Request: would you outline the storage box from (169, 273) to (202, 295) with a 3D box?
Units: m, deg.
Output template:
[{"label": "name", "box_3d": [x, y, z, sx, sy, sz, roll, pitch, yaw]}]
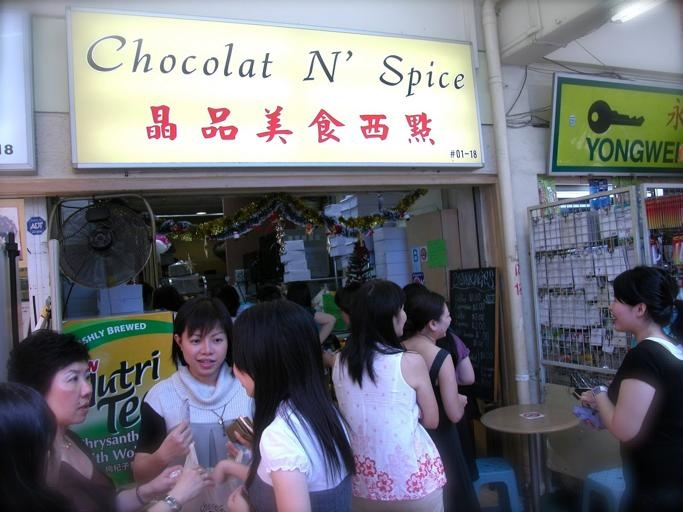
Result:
[{"label": "storage box", "box_3d": [-1.628, 0.295, 5.165, 0.276, 0.208, 0.182, 0, -1, -13]}]

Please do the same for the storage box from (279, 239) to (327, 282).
[{"label": "storage box", "box_3d": [-0.525, 0.063, 6.232, 0.493, 0.459, 0.172, 0, -5, -41]}]

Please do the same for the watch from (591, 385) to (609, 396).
[{"label": "watch", "box_3d": [1.205, 0.619, 2.268, 0.046, 0.020, 0.047, 1, -5, -6]}]

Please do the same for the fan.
[{"label": "fan", "box_3d": [-1.592, -0.112, 3.310, 0.419, 0.648, 0.753, 1, 4, -20]}]

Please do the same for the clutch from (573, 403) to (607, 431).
[{"label": "clutch", "box_3d": [1.242, 0.802, 2.461, 0.145, 0.053, 0.121, 21, -2, -8]}]

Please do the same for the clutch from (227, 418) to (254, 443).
[{"label": "clutch", "box_3d": [-0.374, 0.642, 1.825, 0.143, 0.086, 0.038, -6, -2, 36]}]
